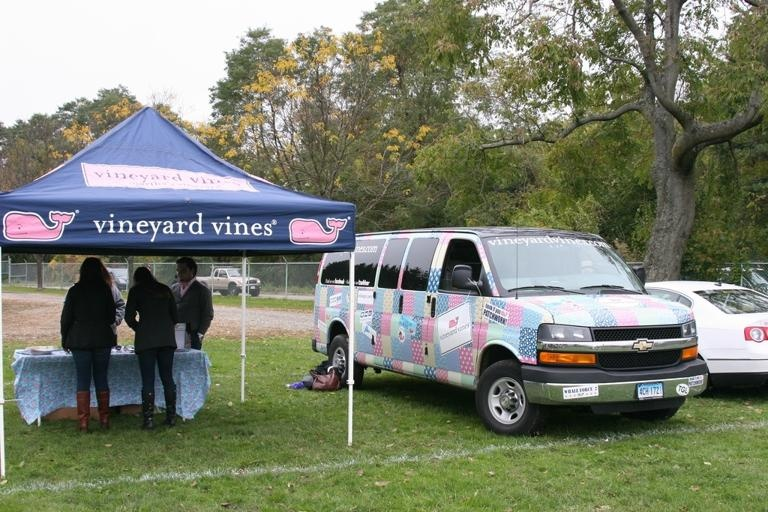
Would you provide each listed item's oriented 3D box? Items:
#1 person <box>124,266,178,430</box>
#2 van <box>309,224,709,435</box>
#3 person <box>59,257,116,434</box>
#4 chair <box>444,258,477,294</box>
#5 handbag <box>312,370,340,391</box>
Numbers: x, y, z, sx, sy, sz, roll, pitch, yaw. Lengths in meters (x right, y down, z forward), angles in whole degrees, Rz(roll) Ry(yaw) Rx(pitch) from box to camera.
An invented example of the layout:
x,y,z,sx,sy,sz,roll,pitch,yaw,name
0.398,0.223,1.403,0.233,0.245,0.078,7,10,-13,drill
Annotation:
x,y,z,sx,sy,sz,roll,pitch,yaw,name
-3.790,1.504,14.786,0.802,2.595,0.661,-2,10,-12,person
1.601,1.203,16.103,3.233,2.516,6.176,1,-3,-31,van
-4.752,1.401,14.599,0.848,2.759,0.609,-3,10,-17,person
1.251,0.313,14.792,0.439,0.431,0.593,1,2,-2,chair
-1.126,2.409,17.420,0.416,0.173,0.319,0,11,22,handbag
